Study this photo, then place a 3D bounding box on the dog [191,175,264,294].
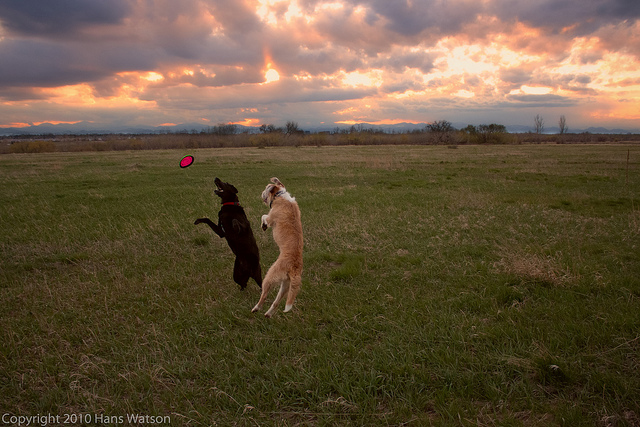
[{"bbox_3d":[-3.772,0.894,17.917,1.284,4.478,1.799,-21,-10,32],"label":"dog"}]
